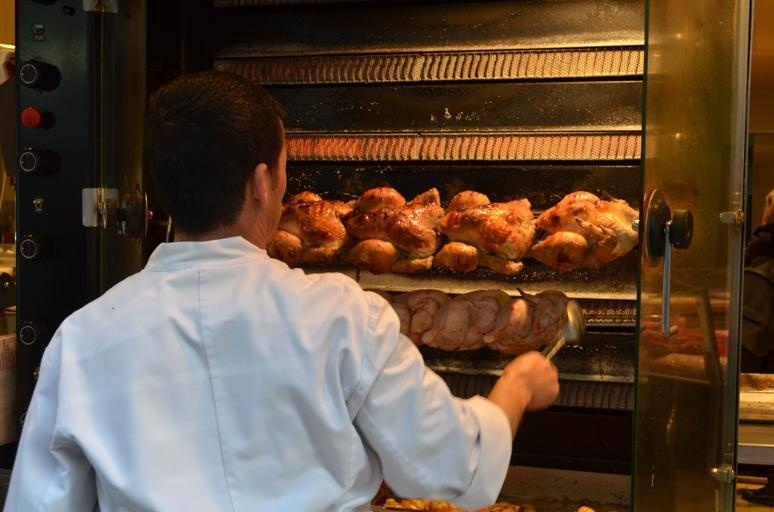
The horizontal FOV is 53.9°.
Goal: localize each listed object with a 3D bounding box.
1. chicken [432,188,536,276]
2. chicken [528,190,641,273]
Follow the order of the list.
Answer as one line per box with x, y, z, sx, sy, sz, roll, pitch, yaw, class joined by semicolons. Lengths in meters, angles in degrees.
0.335;-0.085;2.659;0.291;0.288;0.127;2;-6;8;chicken
0.690;-0.083;2.674;0.310;0.265;0.162;-14;-47;27;chicken
